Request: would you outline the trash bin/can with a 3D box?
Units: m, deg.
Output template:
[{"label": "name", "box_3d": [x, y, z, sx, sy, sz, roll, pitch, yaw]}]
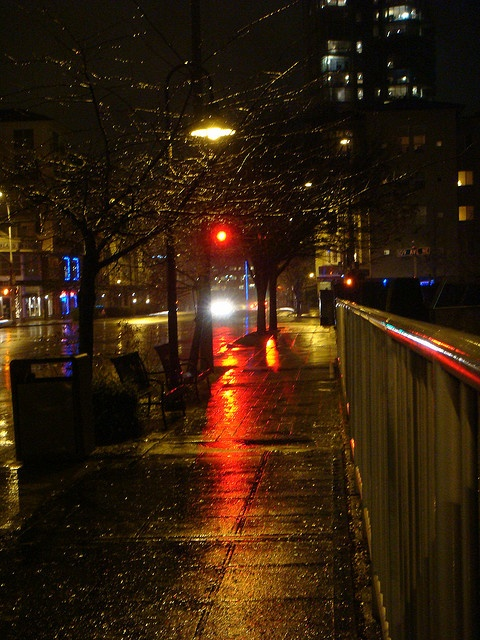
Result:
[{"label": "trash bin/can", "box_3d": [-2.092, 1.171, 7.119, 0.715, 1.207, 0.723, -2, -39, -20]}]
